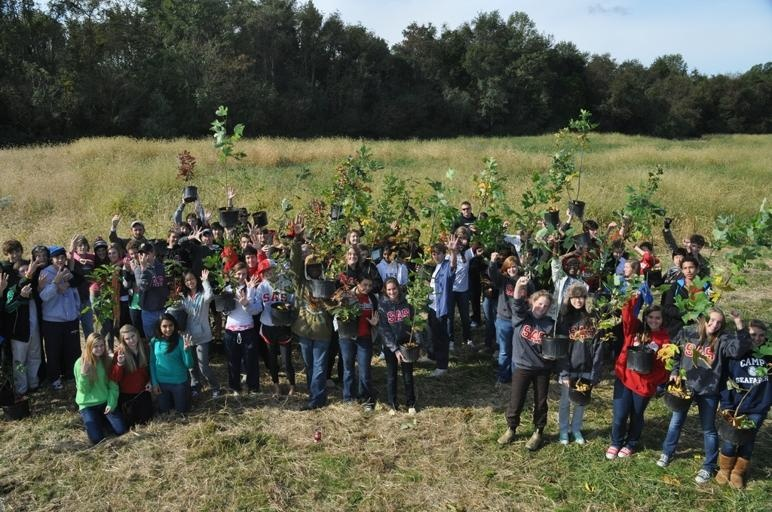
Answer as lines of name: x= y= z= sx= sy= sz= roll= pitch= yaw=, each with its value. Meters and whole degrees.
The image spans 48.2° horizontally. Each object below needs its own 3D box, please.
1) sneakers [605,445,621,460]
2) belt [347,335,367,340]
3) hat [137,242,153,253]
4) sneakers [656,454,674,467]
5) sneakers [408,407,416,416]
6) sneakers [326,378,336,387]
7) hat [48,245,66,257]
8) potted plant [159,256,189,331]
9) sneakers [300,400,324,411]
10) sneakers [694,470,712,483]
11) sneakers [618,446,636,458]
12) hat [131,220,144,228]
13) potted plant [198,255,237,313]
sneakers: x=5.130 y=4.497 z=19.612 sx=0.183 sy=0.374 sz=0.146 roll=24 pitch=15 yaw=17
belt: x=-0.642 y=1.973 z=20.393 sx=0.465 sy=0.174 sz=0.298 roll=0 pitch=7 yaw=-3
hat: x=-5.869 y=-0.195 z=21.137 sx=0.360 sy=0.210 sz=0.414 roll=-2 pitch=7 yaw=-17
sneakers: x=6.236 y=4.670 z=19.414 sx=0.201 sy=0.360 sz=0.133 roll=42 pitch=12 yaw=17
sneakers: x=0.621 y=3.759 z=20.635 sx=0.172 sy=0.170 sz=0.174 roll=0 pitch=-5 yaw=0
sneakers: x=-1.386 y=3.178 z=21.401 sx=0.272 sy=0.207 sz=0.503 roll=0 pitch=-4 yaw=-23
hat: x=-8.059 y=-0.090 z=21.122 sx=0.288 sy=0.226 sz=0.462 roll=-6 pitch=9 yaw=-42
potted plant: x=-5.091 y=1.093 z=21.141 sx=0.708 sy=1.944 sz=0.704 roll=3 pitch=-3 yaw=9
sneakers: x=-1.773 y=3.618 z=20.815 sx=0.585 sy=0.257 sz=0.259 roll=1 pitch=7 yaw=7
sneakers: x=7.029 y=4.948 z=19.182 sx=0.489 sy=0.182 sz=0.193 roll=-7 pitch=41 yaw=-24
sneakers: x=5.462 y=4.491 z=19.620 sx=0.403 sy=0.166 sz=0.125 roll=-13 pitch=10 yaw=-18
hat: x=-6.665 y=-0.854 z=23.134 sx=0.359 sy=0.163 sz=0.495 roll=-1 pitch=4 yaw=-21
potted plant: x=-3.854 y=0.804 z=21.128 sx=1.103 sy=1.334 sz=1.073 roll=-3 pitch=-8 yaw=11
